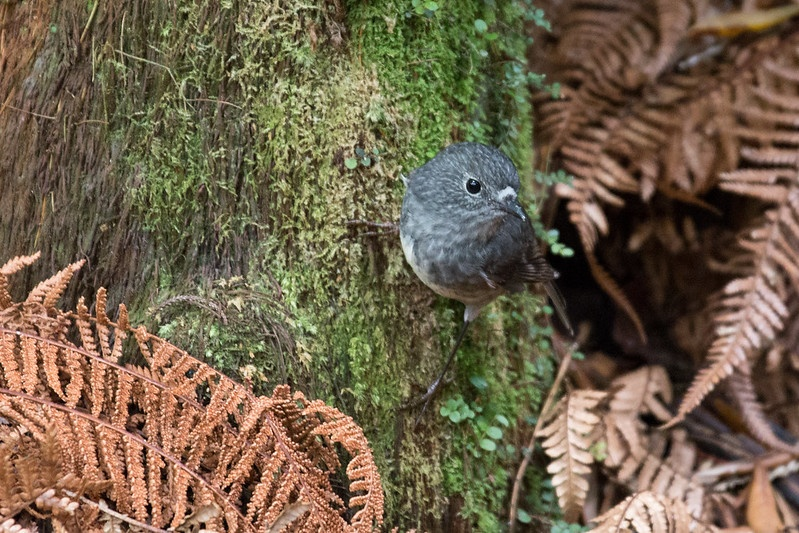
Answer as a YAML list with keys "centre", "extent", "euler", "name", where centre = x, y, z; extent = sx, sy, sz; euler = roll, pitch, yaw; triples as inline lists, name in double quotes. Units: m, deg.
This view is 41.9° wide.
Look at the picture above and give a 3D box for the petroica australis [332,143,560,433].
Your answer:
- centre: [0.435, -0.153, 6.547]
  extent: [1.034, 1.073, 0.952]
  euler: [37, 44, 17]
  name: "petroica australis"
